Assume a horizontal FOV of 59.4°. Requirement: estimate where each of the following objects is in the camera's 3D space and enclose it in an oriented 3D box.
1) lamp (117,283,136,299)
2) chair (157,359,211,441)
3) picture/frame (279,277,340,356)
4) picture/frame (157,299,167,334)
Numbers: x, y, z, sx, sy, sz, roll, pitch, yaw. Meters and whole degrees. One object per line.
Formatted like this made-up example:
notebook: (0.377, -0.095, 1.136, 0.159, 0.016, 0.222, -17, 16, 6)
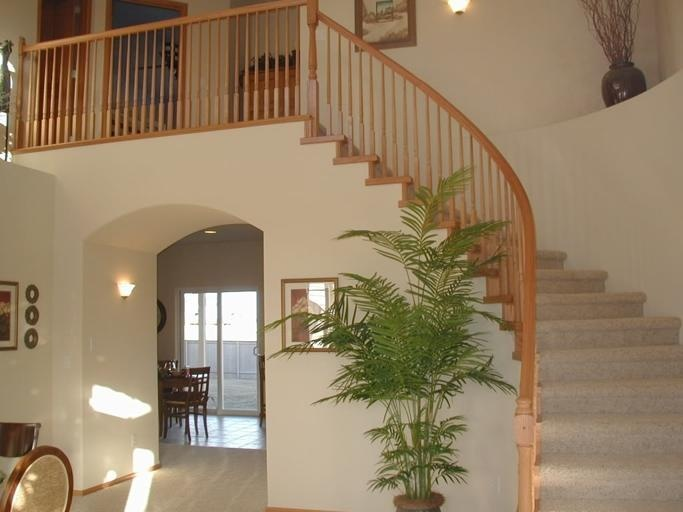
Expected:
lamp: (-2.655, 0.422, 7.395, 0.174, 0.144, 0.185, 9, -16, -26)
chair: (-2.513, 2.351, 9.551, 0.783, 1.171, 1.062, 0, -13, -15)
picture/frame: (-0.306, 0.619, 5.934, 0.730, 0.980, 0.037, -1, -2, 15)
picture/frame: (-3.542, 1.169, 11.828, 0.166, 0.637, 0.061, -3, -12, -1)
